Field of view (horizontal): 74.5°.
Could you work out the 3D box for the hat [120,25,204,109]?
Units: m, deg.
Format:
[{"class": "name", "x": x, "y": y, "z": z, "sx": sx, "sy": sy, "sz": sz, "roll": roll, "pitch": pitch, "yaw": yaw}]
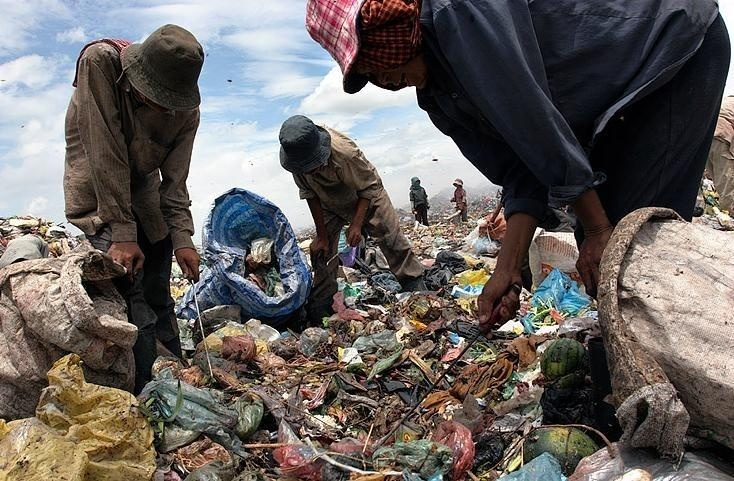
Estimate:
[{"class": "hat", "x": -1.582, "y": -1.343, "z": 3.773, "sx": 0.587, "sy": 0.642, "sz": 0.264, "roll": -12, "pitch": 15, "yaw": -21}]
